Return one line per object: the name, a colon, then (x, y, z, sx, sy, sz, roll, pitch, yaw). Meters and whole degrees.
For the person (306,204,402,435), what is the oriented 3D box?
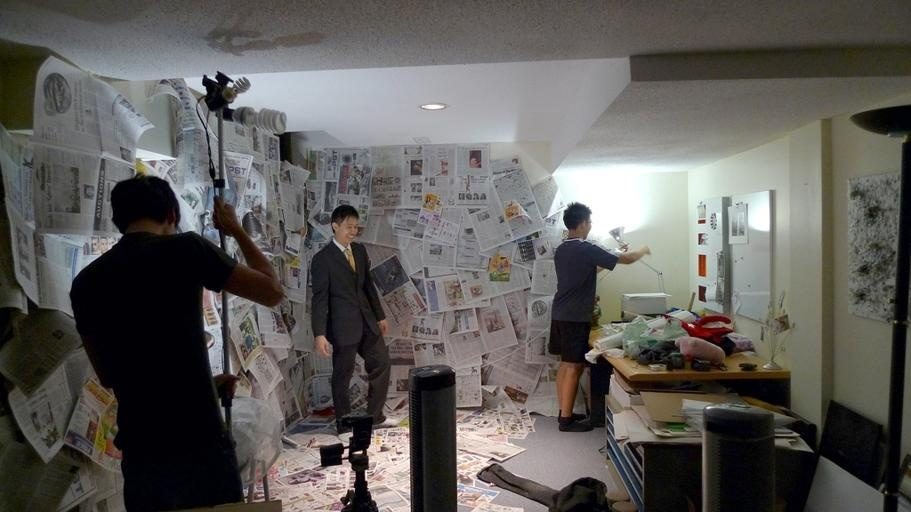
person: (-0.951, 0.547, 5.202, 0.643, 1.946, 0.609, -4, 14, -9)

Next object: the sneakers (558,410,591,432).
sneakers: (1.055, 1.472, 5.159, 0.197, 0.073, 0.222, -4, -3, 2)

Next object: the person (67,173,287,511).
person: (-1.503, 0.587, 3.061, 0.952, 1.412, 0.481, 0, 14, 9)

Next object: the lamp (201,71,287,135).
lamp: (-1.311, -0.918, 3.585, 0.575, 0.216, 0.170, 32, 35, 5)
